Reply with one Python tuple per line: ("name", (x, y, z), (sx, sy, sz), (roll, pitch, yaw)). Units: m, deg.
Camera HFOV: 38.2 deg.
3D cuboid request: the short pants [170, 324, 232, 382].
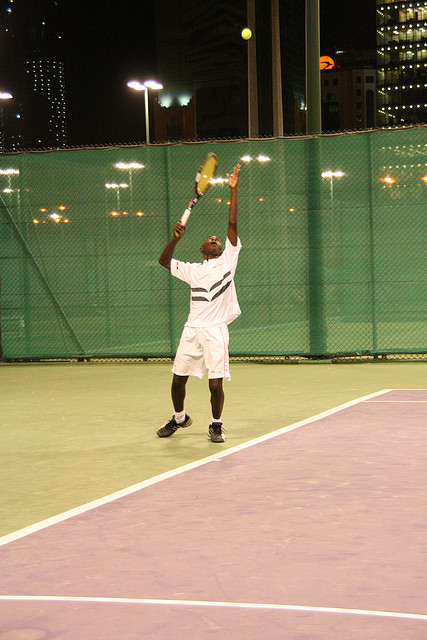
("short pants", (-0.090, 0.321, 6.372), (0.648, 0.553, 0.308), (2, -8, 16))
